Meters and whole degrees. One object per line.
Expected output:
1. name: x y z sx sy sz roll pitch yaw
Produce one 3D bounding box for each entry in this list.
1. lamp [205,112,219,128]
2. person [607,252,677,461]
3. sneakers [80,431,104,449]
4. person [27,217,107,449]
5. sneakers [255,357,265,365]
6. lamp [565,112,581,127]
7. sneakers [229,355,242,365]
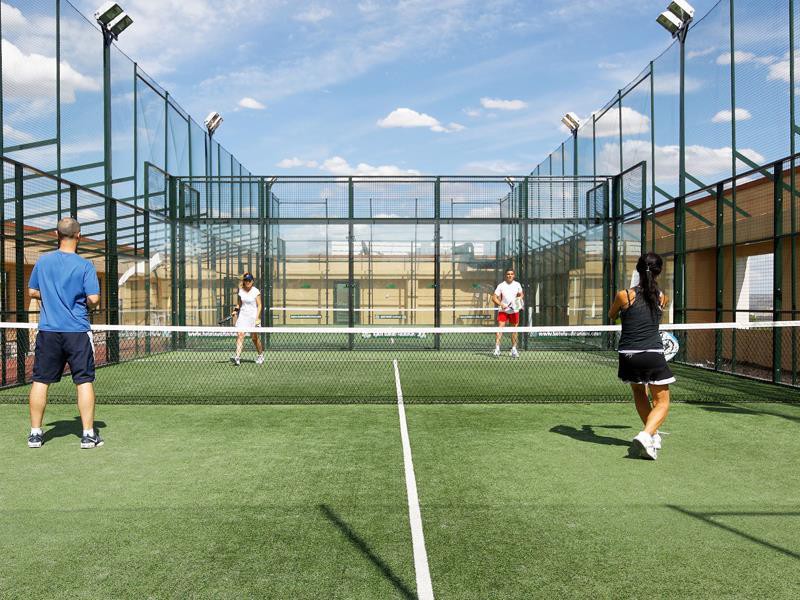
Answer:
1. lamp: -5.203 -4.983 19.412 0.376 0.445 1.317 -2 7 -16
2. person: 2.576 0.577 7.410 0.634 2.138 0.839 3 7 22
3. sneakers: -3.363 1.518 7.598 0.109 0.142 0.292 1 -1 2
4. person: -3.648 0.536 7.561 0.778 2.102 0.396 0 7 -1
5. sneakers: -2.860 1.219 14.184 0.185 0.197 0.185 1 2 1
6. lamp: 5.084 -5.244 20.429 0.349 0.307 0.560 0 7 -3
7. sneakers: -3.335 1.209 14.120 0.285 0.129 0.201 8 3 12
